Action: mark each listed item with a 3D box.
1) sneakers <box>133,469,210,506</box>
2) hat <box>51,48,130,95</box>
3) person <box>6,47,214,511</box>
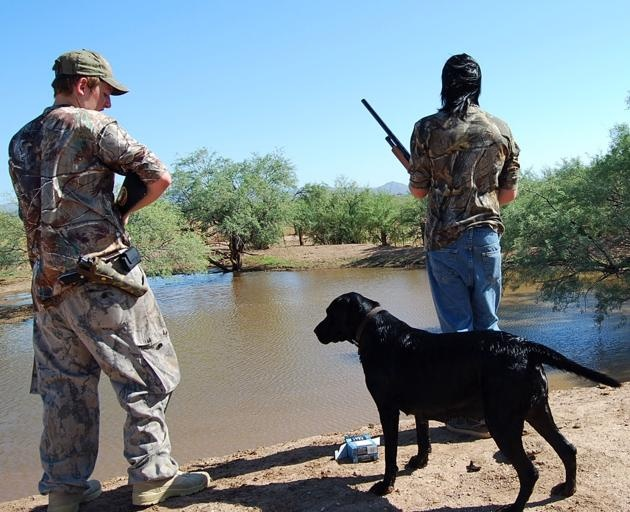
[{"bbox_3d":[-1.163,1.833,4.664,0.584,0.213,0.183,-4,8,-29],"label":"sneakers"},{"bbox_3d":[-1.781,-1.490,4.624,0.637,0.286,0.379,3,22,-17],"label":"hat"},{"bbox_3d":[-1.702,0.386,4.483,1.220,2.562,0.467,-8,5,-12],"label":"person"}]
